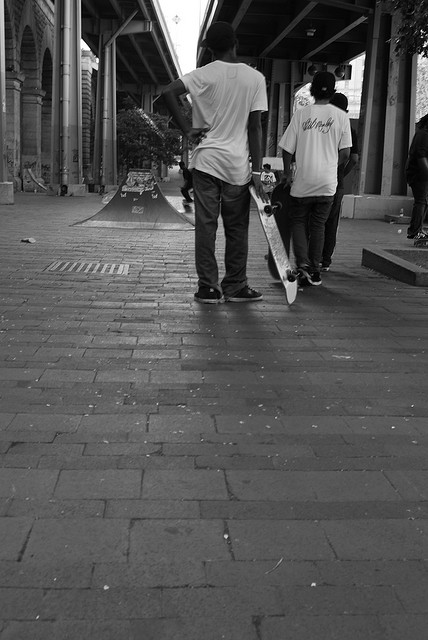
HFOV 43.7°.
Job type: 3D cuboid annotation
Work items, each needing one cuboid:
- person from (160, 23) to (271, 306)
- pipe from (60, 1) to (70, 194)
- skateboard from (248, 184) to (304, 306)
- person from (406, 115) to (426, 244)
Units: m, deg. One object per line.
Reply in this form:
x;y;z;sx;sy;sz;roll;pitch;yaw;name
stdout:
0.049;-1.295;4.455;0.831;2.302;0.482;2;8;5;person
-6.386;-9.451;22.881;0.441;7.832;0.656;-2;9;-20;pipe
0.524;-0.618;4.643;0.184;1.377;0.278;-20;-3;42;skateboard
3.576;-2.467;9.554;0.303;2.160;1.062;4;9;19;person
